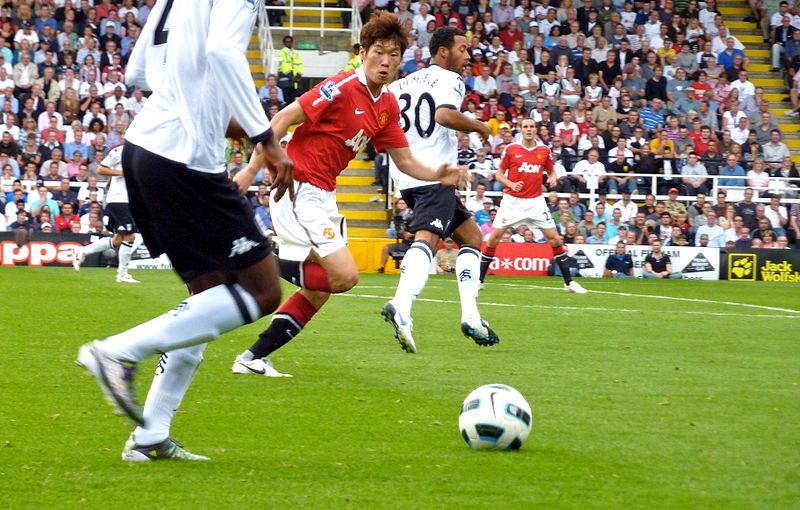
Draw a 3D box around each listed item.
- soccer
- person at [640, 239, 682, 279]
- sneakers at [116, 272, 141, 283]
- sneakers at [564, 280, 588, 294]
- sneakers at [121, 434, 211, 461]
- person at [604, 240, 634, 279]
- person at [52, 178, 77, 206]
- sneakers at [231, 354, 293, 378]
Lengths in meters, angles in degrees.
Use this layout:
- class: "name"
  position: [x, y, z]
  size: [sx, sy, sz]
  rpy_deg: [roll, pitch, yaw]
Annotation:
- class: "soccer"
  position: [0.817, 1.360, 9.232]
  size: [0.613, 0.492, 0.518]
  rpy_deg: [4, -19, 5]
- class: "person"
  position: [5.036, 0.117, 21.819]
  size: [0.909, 0.726, 0.515]
  rpy_deg: [-2, 8, -8]
- class: "sneakers"
  position: [-4.217, 0.357, 17.666]
  size: [0.484, 0.172, 0.164]
  rpy_deg: [0, 9, -7]
- class: "sneakers"
  position: [2.727, 0.506, 17.521]
  size: [0.200, 0.127, 0.351]
  rpy_deg: [0, 3, -43]
- class: "sneakers"
  position: [-1.836, 1.515, 8.749]
  size: [0.765, 0.230, 0.229]
  rpy_deg: [2, -2, -11]
- class: "person"
  position: [4.290, 0.146, 21.700]
  size: [0.596, 0.757, 0.488]
  rpy_deg: [-1, 4, -19]
- class: "person"
  position: [-6.366, -1.216, 21.343]
  size: [0.581, 0.634, 0.518]
  rpy_deg: [-1, -3, -24]
- class: "sneakers"
  position: [-1.233, 1.040, 10.490]
  size: [0.665, 0.197, 0.201]
  rpy_deg: [4, -3, -9]
